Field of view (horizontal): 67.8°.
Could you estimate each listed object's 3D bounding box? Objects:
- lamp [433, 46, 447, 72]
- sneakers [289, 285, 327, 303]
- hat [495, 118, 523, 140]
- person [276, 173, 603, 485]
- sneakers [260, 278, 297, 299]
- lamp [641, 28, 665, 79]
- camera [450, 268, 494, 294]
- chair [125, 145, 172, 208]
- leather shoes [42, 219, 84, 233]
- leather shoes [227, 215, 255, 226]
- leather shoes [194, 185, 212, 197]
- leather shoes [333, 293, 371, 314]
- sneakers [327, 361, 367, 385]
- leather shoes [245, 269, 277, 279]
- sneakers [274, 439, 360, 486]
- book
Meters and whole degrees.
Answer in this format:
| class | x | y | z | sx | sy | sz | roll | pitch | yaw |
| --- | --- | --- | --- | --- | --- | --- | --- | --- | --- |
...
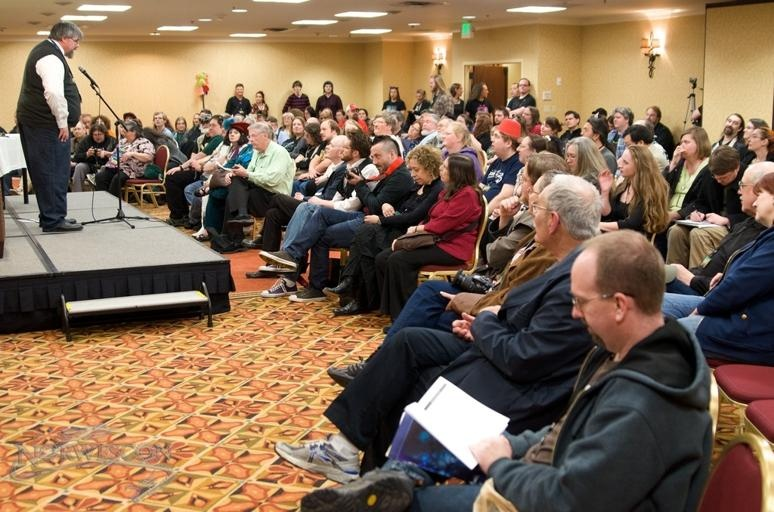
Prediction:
| class | x | y | z | sx | sy | sz | roll | pitch | yaw |
| --- | --- | --- | --- | --- | --- | --- | --- | --- | --- |
| lamp | 1.724 | -6.441 | 18.829 | 0.482 | 0.866 | 0.139 | 9 | 16 | 35 |
| sneakers | -0.790 | 0.375 | 5.703 | 0.354 | 0.139 | 0.152 | 2 | 0 | -7 |
| hat | 1.383 | -1.419 | 6.439 | 0.286 | 0.149 | 0.205 | 16 | 14 | 19 |
| person | 0.278 | 0.383 | 2.924 | 1.484 | 1.657 | 0.839 | 7 | 11 | 9 |
| sneakers | -1.096 | 0.333 | 5.856 | 0.407 | 0.172 | 0.151 | 1 | 0 | -24 |
| lamp | 6.278 | -4.763 | 13.551 | 0.515 | 1.112 | 0.141 | 5 | 14 | 22 |
| camera | 0.553 | 0.176 | 3.711 | 0.212 | 0.121 | 0.205 | 17 | 0 | -29 |
| chair | -4.177 | -1.368 | 9.975 | 0.565 | 1.037 | 0.661 | 14 | 18 | 35 |
| leather shoes | -3.521 | -0.335 | 6.202 | 0.350 | 0.138 | 0.170 | -3 | 7 | -24 |
| leather shoes | -1.829 | -0.459 | 7.213 | 0.334 | 0.119 | 0.240 | 1 | 33 | -2 |
| leather shoes | -2.662 | -0.915 | 8.237 | 0.239 | 0.095 | 0.236 | -6 | 9 | -31 |
| leather shoes | -0.344 | 0.467 | 5.396 | 0.401 | 0.171 | 0.134 | 2 | 1 | -6 |
| sneakers | -0.241 | 0.703 | 3.496 | 0.216 | 0.120 | 0.274 | -21 | -4 | 4 |
| leather shoes | -1.417 | 0.227 | 6.459 | 0.356 | 0.147 | 0.128 | 4 | -6 | -14 |
| sneakers | -0.359 | 1.035 | 3.063 | 0.481 | 0.217 | 0.156 | 15 | 19 | 7 |
| book | 0.265 | 0.630 | 2.257 | 0.297 | 0.084 | 0.300 | 35 | 40 | 29 |
